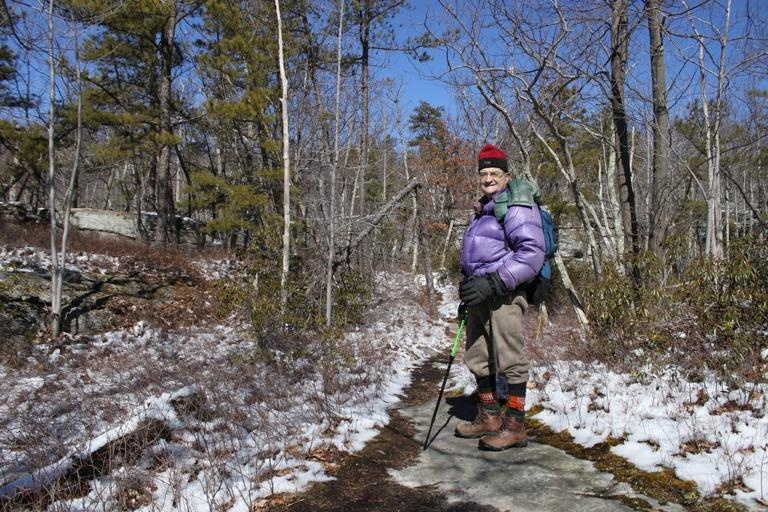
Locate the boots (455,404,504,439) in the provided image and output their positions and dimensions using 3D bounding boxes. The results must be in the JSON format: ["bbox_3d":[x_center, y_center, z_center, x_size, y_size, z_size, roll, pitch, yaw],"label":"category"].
[{"bbox_3d":[1.879,3.182,12.590,1.080,0.858,0.420,-2,3,8],"label":"boots"}]

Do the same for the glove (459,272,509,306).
[{"bbox_3d":[1.876,0.616,12.203,0.894,0.504,0.303,1,0,9],"label":"glove"}]

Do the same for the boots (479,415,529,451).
[{"bbox_3d":[2.279,3.332,12.084,1.047,0.742,0.438,1,-8,-4],"label":"boots"}]

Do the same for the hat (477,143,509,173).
[{"bbox_3d":[2.136,-1.911,12.653,0.502,0.559,0.489,-1,8,15],"label":"hat"}]
